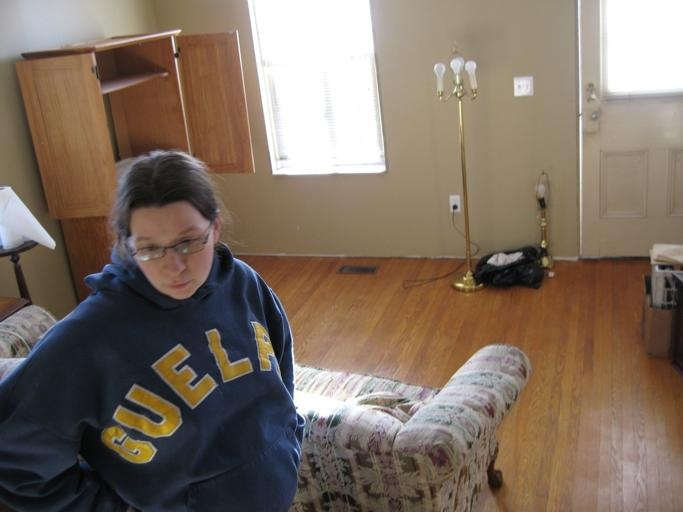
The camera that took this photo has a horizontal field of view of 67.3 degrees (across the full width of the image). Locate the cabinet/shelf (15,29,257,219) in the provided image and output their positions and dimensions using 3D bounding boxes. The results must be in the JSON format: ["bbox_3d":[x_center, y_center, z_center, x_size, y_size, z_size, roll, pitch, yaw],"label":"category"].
[{"bbox_3d":[-1.487,-1.064,3.862,0.867,1.208,1.700,3,24,7],"label":"cabinet/shelf"}]

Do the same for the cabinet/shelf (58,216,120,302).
[{"bbox_3d":[-1.780,-0.030,4.025,0.335,0.610,0.626,-8,2,8],"label":"cabinet/shelf"}]

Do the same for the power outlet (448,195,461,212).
[{"bbox_3d":[0.989,-0.462,4.463,0.125,0.240,0.024,-1,16,12],"label":"power outlet"}]
